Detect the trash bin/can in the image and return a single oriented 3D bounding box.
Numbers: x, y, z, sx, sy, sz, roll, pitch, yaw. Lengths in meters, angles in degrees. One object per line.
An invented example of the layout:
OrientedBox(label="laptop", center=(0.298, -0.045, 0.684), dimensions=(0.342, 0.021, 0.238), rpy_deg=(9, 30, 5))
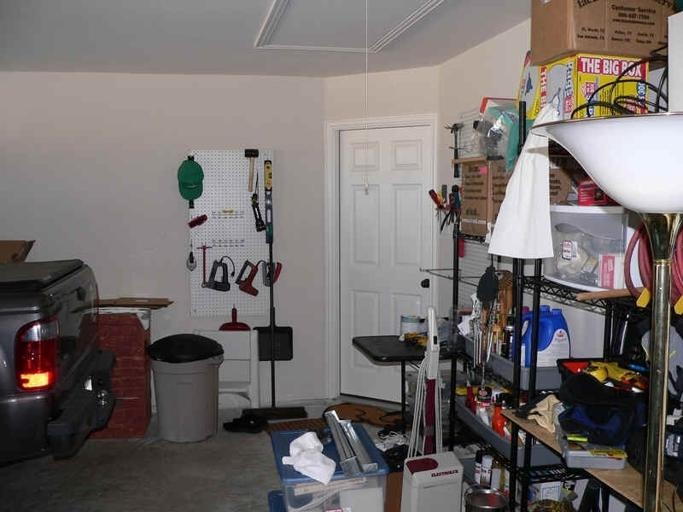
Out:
OrientedBox(label="trash bin/can", center=(-1.190, 1.020, 4.417), dimensions=(0.547, 0.780, 0.258), rpy_deg=(-3, 11, -12))

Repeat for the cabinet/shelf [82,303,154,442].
OrientedBox(label="cabinet/shelf", center=(-1.709, 0.893, 4.479), dimensions=(0.393, 0.977, 0.493), rpy_deg=(1, 6, -10))

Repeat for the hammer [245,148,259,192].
OrientedBox(label="hammer", center=(-0.774, -0.730, 4.962), dimensions=(0.120, 0.362, 0.078), rpy_deg=(-2, 11, -10))

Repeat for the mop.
OrientedBox(label="mop", center=(-0.572, 0.582, 5.057), dimensions=(0.324, 1.685, 0.194), rpy_deg=(0, 4, -14))

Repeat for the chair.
OrientedBox(label="chair", center=(-0.867, 0.918, 4.713), dimensions=(0.501, 0.682, 0.363), rpy_deg=(2, 5, -14))

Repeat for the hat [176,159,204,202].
OrientedBox(label="hat", center=(-1.287, -0.651, 4.883), dimensions=(0.220, 0.386, 0.175), rpy_deg=(-3, 12, -15))
